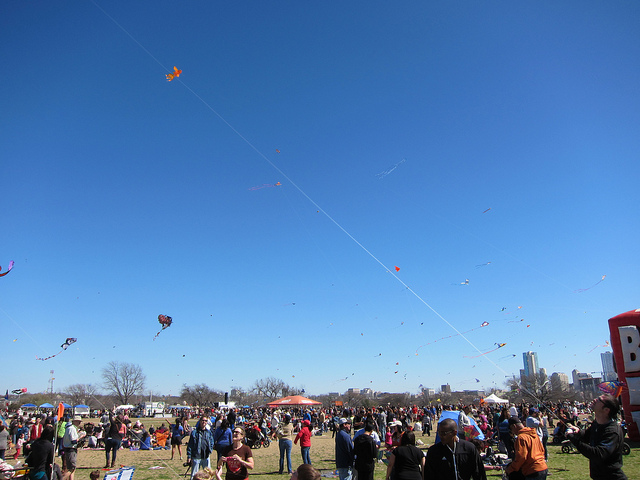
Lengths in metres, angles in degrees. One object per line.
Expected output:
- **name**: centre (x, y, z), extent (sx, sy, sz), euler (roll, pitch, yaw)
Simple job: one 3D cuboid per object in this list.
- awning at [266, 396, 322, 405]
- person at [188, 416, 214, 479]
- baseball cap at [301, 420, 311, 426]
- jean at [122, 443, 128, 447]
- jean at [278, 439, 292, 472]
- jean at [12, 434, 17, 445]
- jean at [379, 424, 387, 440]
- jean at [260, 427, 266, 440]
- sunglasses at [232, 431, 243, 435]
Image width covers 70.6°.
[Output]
- **awning**: centre (-1.318, 8.383, 23.729), extent (1.638, 0.485, 2.315), euler (16, -28, -41)
- **person**: centre (-3.141, 5.460, 11.967), extent (0.657, 1.529, 1.037), euler (3, -21, -14)
- **baseball cap**: centre (-0.490, 6.081, 15.183), extent (0.256, 0.132, 0.396), euler (25, -22, -31)
- **jean**: centre (-8.836, 9.292, 20.561), extent (0.303, 0.076, 0.058), euler (-10, -29, -10)
- **jean**: centre (-1.080, 6.761, 14.235), extent (0.393, 0.973, 0.798), euler (0, -21, -5)
- **jean**: centre (-13.910, 9.032, 20.573), extent (0.109, 0.374, 0.662), euler (13, -26, -35)
- **jean**: centre (2.841, 8.620, 20.409), extent (0.257, 0.642, 0.833), euler (-5, -21, 8)
- **jean**: centre (-2.605, 8.884, 20.897), extent (0.203, 0.478, 0.510), euler (0, -21, -8)
- **sunglasses**: centre (-1.733, 4.092, 9.652), extent (0.079, 0.065, 0.231), euler (-13, -23, 25)
